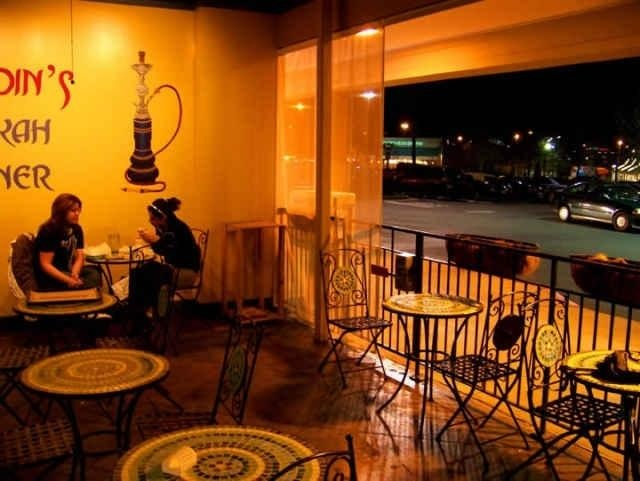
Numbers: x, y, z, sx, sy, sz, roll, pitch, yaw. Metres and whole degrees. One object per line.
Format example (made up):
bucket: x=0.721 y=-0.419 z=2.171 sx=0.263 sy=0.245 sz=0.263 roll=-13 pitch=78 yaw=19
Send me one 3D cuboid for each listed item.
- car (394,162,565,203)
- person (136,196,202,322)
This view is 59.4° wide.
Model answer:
car: x=7.454 y=-3.157 z=30.395 sx=7.641 sy=1.951 sz=2.458 roll=2 pitch=8 yaw=8
person: x=-2.031 y=0.256 z=7.374 sx=0.936 sy=1.613 sz=0.686 roll=0 pitch=6 yaw=-21
